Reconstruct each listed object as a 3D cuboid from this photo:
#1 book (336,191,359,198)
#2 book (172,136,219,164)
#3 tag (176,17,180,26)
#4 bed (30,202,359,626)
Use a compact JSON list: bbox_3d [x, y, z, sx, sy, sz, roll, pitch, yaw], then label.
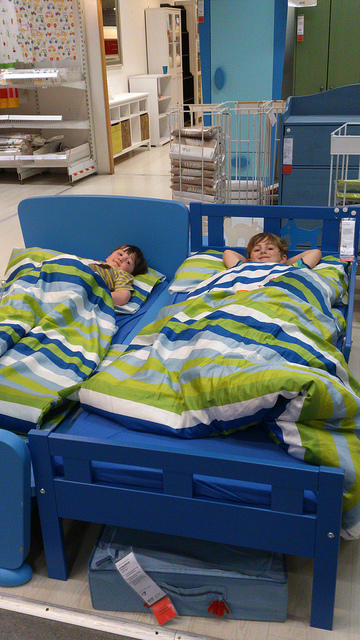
[{"bbox_3d":[0.752,-0.562,2.076,0.054,0.015,0.054,-6,11,-38],"label":"book"},{"bbox_3d":[0.095,-1.021,2.774,0.184,0.071,0.206,9,36,8],"label":"book"},{"bbox_3d":[-0.031,-5.262,8.177,0.013,0.117,0.127,2,22,15],"label":"tag"},{"bbox_3d":[0.162,0.106,1.625,0.674,0.664,1.486,3,38,13],"label":"bed"}]
